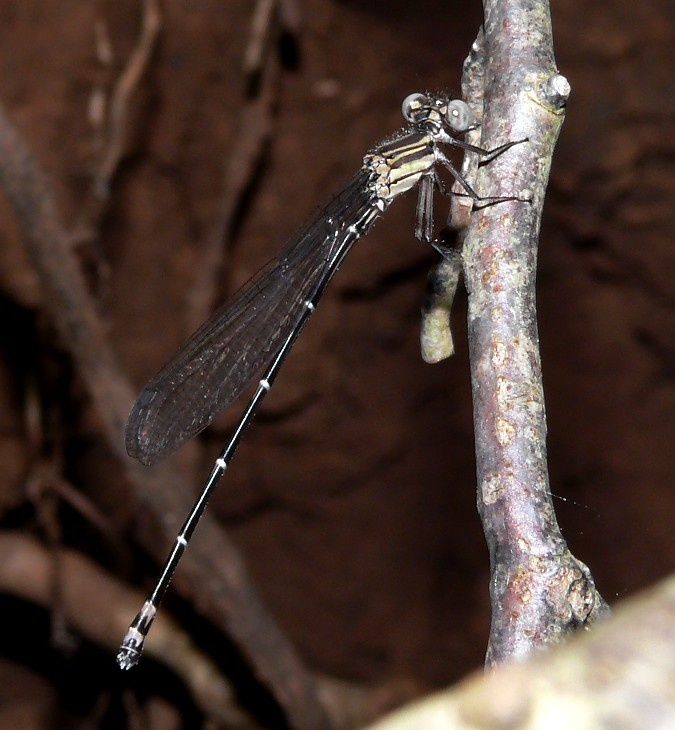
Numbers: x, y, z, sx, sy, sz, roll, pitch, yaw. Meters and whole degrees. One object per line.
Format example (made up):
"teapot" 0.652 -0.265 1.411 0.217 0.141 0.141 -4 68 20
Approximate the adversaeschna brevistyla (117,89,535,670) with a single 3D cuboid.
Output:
"adversaeschna brevistyla" -0.311 -0.223 3.627 0.747 1.436 1.733 37 58 23
